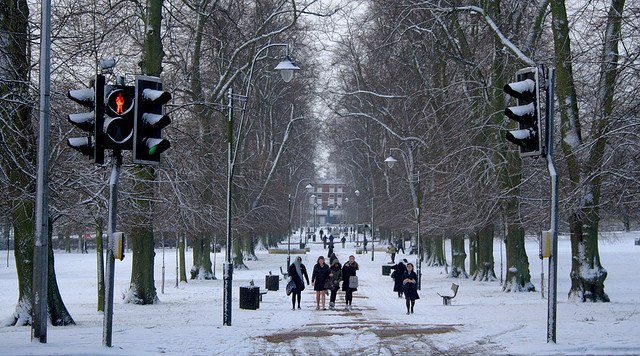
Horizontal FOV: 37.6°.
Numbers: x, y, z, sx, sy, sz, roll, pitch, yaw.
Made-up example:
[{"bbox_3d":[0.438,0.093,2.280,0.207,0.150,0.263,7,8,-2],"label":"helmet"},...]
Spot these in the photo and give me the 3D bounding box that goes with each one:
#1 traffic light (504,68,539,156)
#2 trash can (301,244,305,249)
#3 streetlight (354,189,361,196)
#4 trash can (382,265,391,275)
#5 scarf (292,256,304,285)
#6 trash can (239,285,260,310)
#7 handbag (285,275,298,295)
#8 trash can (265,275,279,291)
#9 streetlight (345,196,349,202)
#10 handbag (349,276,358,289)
[{"bbox_3d":[8.695,-2.809,40.347,1.329,3.614,1.197,1,0,11],"label":"traffic light"},{"bbox_3d":[-1.851,7.349,102.864,0.624,0.603,0.335,1,-9,-3],"label":"trash can"},{"bbox_3d":[4.027,1.468,98.428,0.591,0.525,0.592,1,2,-17],"label":"streetlight"},{"bbox_3d":[4.802,6.594,68.373,0.894,0.867,0.760,0,-4,1],"label":"trash can"},{"bbox_3d":[-1.090,4.874,50.898,0.766,1.076,0.581,-6,10,-35],"label":"scarf"},{"bbox_3d":[-3.772,6.317,50.276,1.209,1.261,1.185,2,2,-2],"label":"trash can"},{"bbox_3d":[-1.497,5.606,50.228,0.324,0.993,0.720,2,-10,-39],"label":"handbag"},{"bbox_3d":[-2.871,6.400,58.070,0.860,0.851,0.852,-1,3,-41],"label":"trash can"},{"bbox_3d":[4.208,2.947,140.442,0.871,0.927,0.832,0,-6,-8],"label":"streetlight"},{"bbox_3d":[1.826,5.544,50.658,0.439,0.636,0.248,0,-8,-26],"label":"handbag"}]
